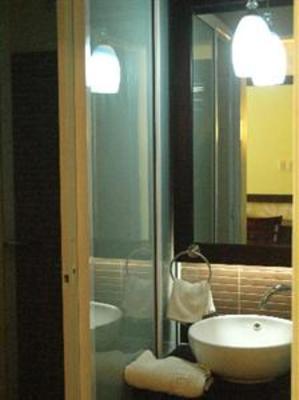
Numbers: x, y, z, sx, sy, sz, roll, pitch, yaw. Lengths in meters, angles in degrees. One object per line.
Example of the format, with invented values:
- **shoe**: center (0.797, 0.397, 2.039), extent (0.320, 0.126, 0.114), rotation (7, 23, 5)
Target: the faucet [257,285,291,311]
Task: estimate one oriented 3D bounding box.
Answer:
- **faucet**: center (0.420, 0.308, 1.269), extent (0.094, 0.102, 0.153), rotation (2, 7, 25)
